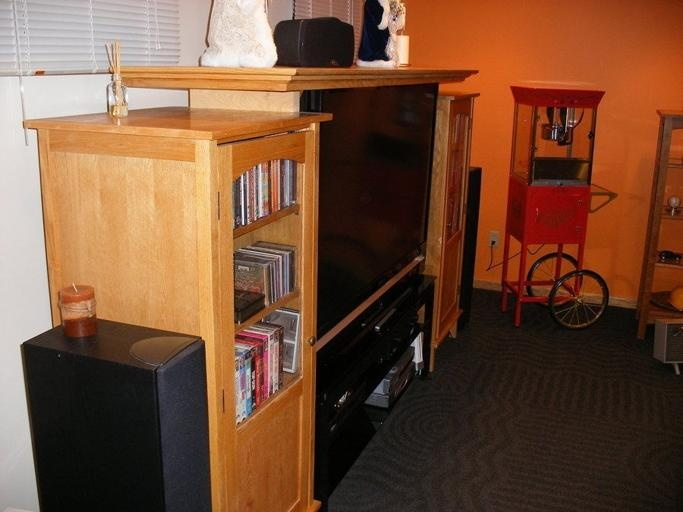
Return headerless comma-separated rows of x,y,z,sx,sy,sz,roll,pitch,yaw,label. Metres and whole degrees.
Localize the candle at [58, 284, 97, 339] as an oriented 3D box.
-0.864,0.181,1.891,0.108,0.142,0.105,4,14,-12,candle
